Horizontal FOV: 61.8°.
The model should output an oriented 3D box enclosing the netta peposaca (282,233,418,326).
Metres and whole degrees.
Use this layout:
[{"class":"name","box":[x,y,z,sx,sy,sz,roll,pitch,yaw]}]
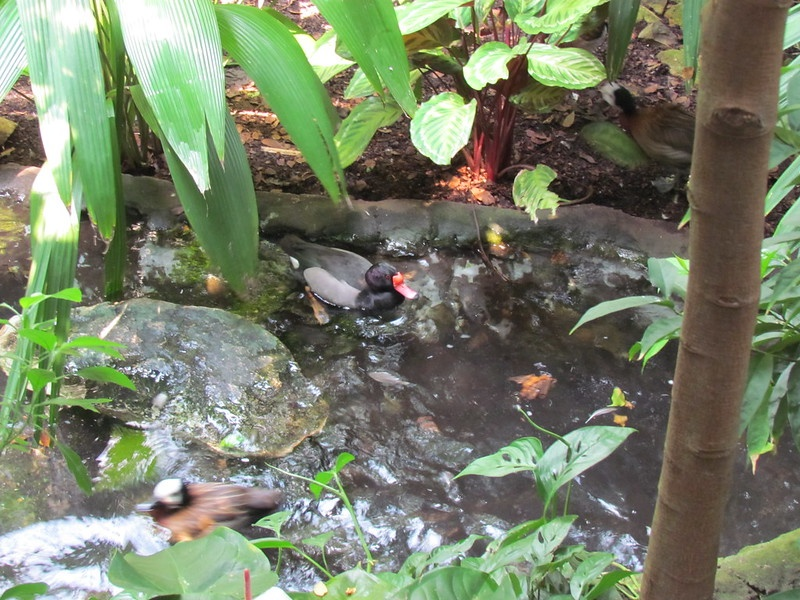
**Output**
[{"class":"netta peposaca","box":[-0.290,-0.077,3.220,0.669,0.375,0.310,35,74,-11]}]
